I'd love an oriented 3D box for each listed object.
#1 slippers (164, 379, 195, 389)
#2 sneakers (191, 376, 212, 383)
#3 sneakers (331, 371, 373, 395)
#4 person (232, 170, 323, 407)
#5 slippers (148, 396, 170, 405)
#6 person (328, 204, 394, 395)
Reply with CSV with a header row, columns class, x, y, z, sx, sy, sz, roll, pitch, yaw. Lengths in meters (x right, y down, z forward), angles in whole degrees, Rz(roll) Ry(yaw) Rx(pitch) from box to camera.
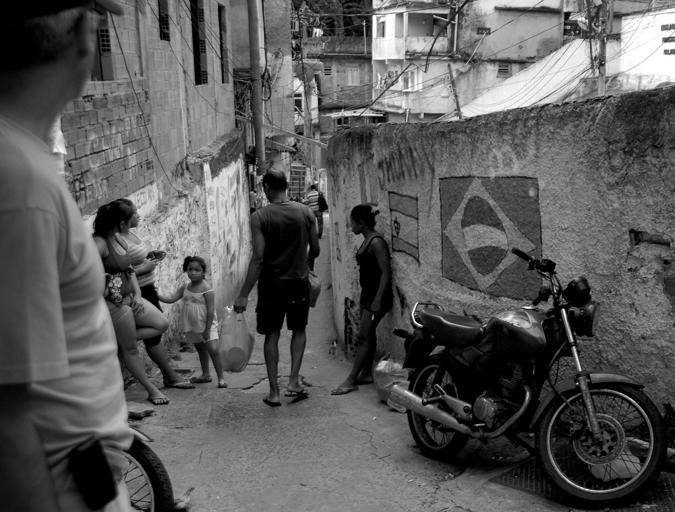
class,x,y,z,sx,sy,sz,roll,pitch,yaw
slippers,-1.528,1.207,6.143,0.258,0.073,0.110,0,5,3
sneakers,-1.379,1.235,6.370,0.147,0.063,0.088,6,-1,-6
sneakers,0.162,1.264,6.290,0.474,0.211,0.160,-6,-7,-37
person,-0.539,0.266,5.941,0.866,2.170,0.418,-5,7,-42
slippers,-1.567,1.271,5.596,0.167,0.052,0.071,-3,-3,31
person,0.271,0.402,6.243,0.547,1.806,0.456,-1,5,5
